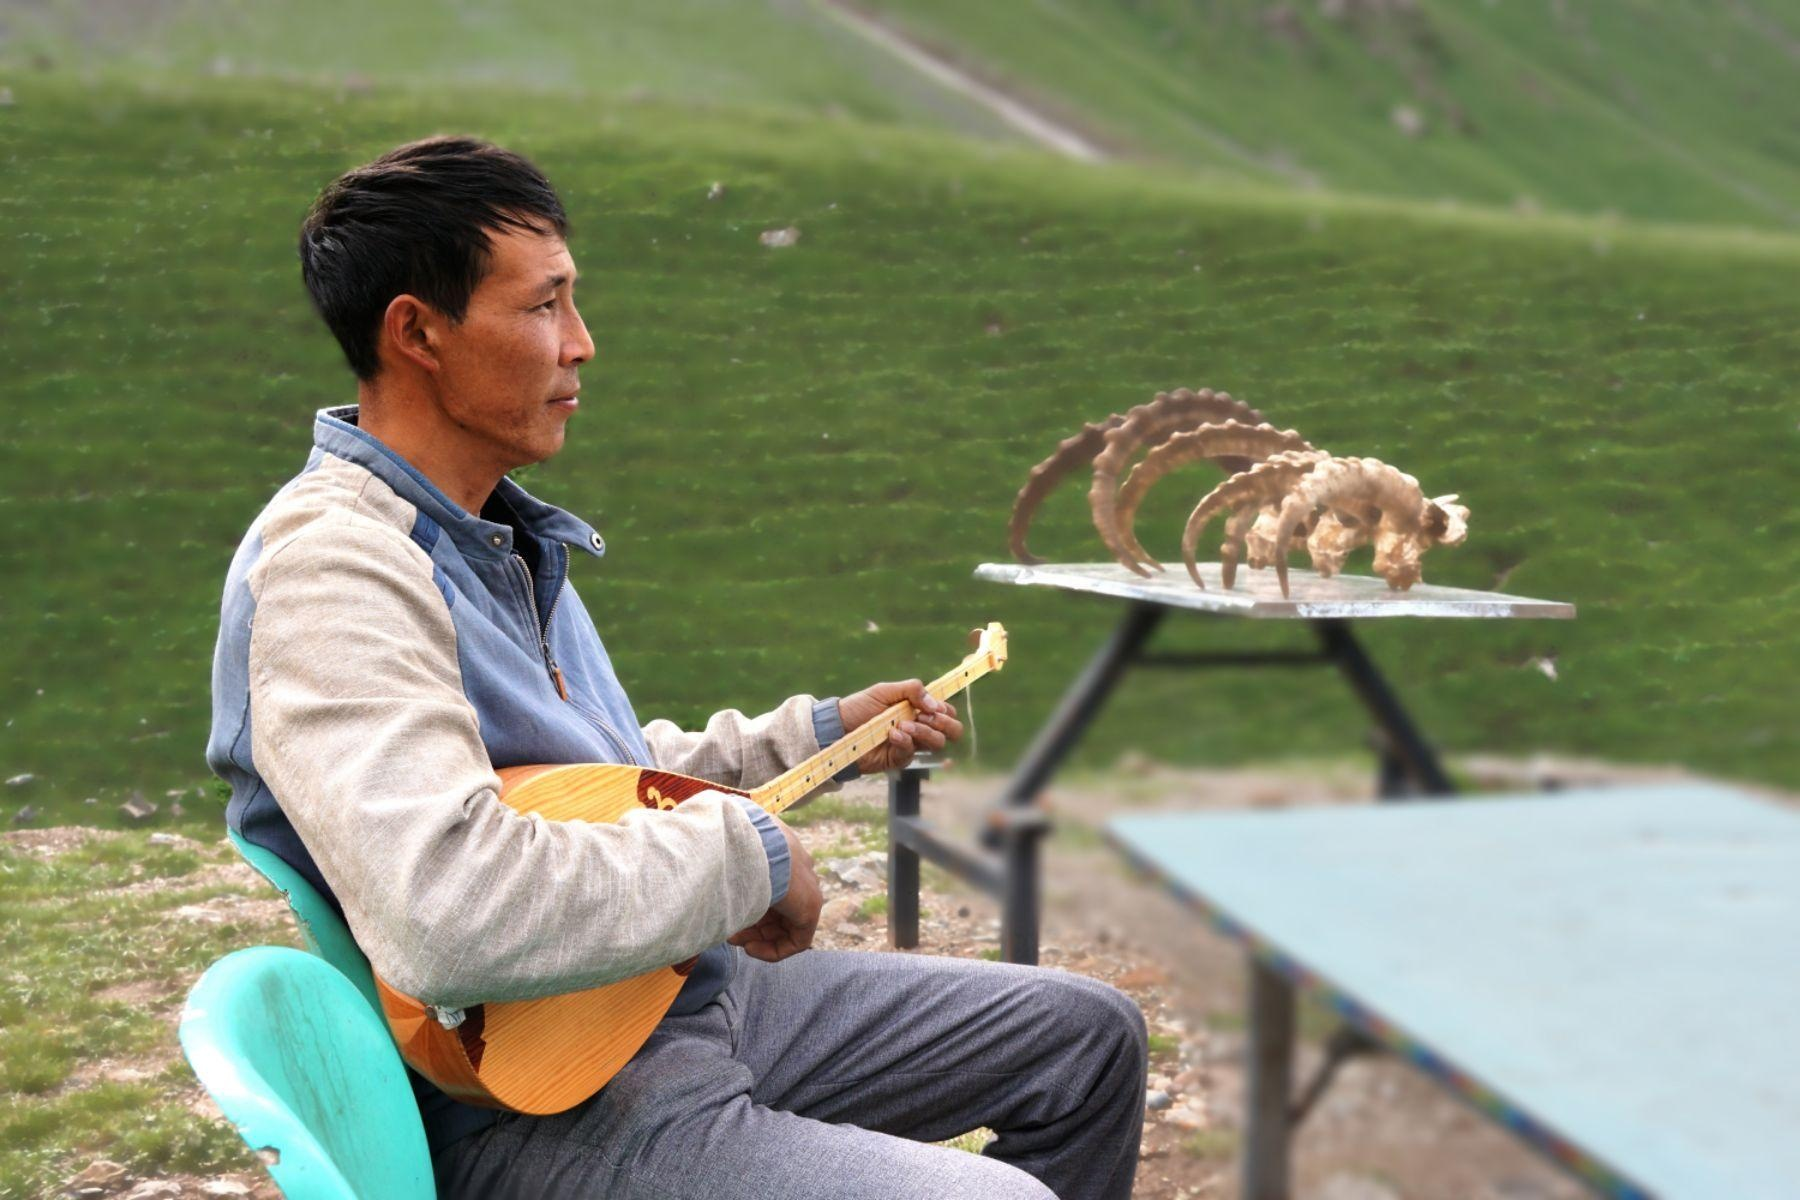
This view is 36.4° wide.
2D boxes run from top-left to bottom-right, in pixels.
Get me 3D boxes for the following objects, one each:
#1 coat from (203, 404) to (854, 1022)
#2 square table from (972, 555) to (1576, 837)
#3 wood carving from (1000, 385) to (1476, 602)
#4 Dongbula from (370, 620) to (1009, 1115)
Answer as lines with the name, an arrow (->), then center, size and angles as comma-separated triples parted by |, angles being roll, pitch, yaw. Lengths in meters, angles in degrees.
coat -> -1.367, 0.426, 8.429 | 1.999, 0.880, 2.384 | 10, 9, -5
square table -> 1.190, 0.250, 9.349 | 1.312, 0.909, 2.138 | 3, 0, 16
wood carving -> 1.329, -0.335, 10.646 | 1.606, 0.641, 1.669 | 10, -7, -18
Dongbula -> -0.688, 0.746, 9.135 | 0.471, 1.073, 3.004 | -2, 16, 32
